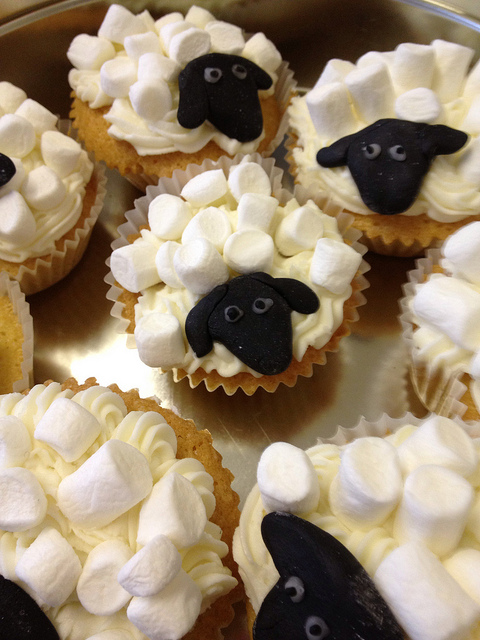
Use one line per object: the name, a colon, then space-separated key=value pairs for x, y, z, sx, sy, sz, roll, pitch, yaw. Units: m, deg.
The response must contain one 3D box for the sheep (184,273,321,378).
sheep: x=0.031 y=-0.004 z=2.063 sx=0.368 sy=0.172 sz=0.276 roll=12 pitch=59 yaw=10
